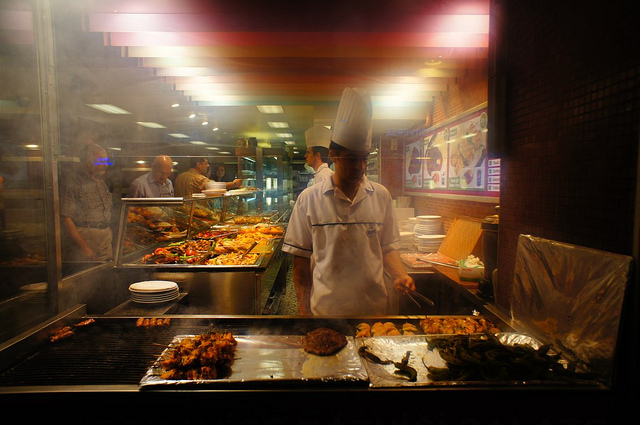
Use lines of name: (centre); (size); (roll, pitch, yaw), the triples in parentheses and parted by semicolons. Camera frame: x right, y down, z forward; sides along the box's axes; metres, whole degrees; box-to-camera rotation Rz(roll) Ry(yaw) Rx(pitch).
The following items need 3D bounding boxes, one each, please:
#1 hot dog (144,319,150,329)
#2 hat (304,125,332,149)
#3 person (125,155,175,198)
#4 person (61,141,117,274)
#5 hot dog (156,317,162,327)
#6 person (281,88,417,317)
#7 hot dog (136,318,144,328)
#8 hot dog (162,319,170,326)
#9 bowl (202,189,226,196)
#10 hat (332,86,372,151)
hot dog: (-1.009, 0.649, 2.601); (0.030, 0.009, 0.041); (0, 48, -6)
hat: (-0.013, -0.709, 4.079); (0.245, 0.146, 0.271); (1, 3, 22)
person: (-1.902, -0.417, 5.024); (0.493, 0.531, 1.000); (-2, 9, -18)
person: (-2.181, -0.108, 4.234); (0.367, 1.153, 1.320); (-2, 10, -20)
hot dog: (-0.944, 0.643, 2.611); (0.029, 0.036, 0.014); (5, 19, 0)
person: (0.157, 0.210, 3.088); (0.946, 1.885, 0.749); (0, -1, -5)
hot dog: (-1.051, 0.649, 2.606); (0.036, 0.013, 0.044); (-1, 46, 10)
hot dog: (-0.899, 0.645, 2.606); (0.039, 0.026, 0.039); (-3, 10, -23)
bowl: (-1.077, -0.228, 4.651); (0.102, 0.056, 0.271); (7, 10, 31)
hat: (0.209, -0.628, 2.893); (0.252, 0.419, 0.216); (2, 9, 4)
